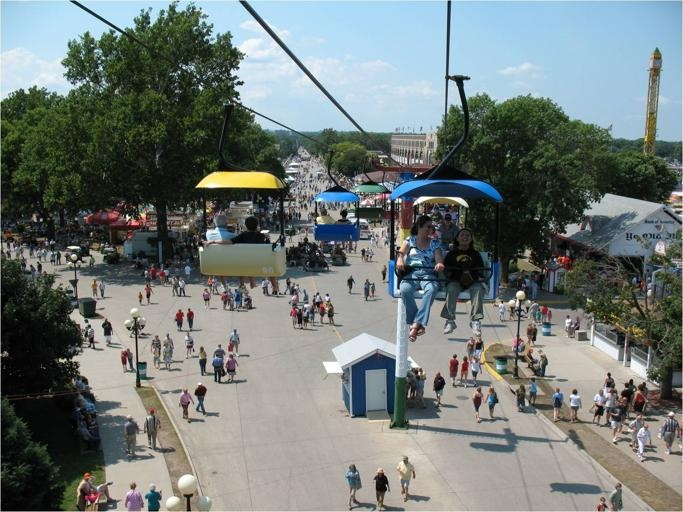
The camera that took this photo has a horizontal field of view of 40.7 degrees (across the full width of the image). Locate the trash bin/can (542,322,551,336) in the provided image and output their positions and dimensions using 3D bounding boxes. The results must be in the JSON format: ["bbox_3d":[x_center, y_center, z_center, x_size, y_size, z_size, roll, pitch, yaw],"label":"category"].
[{"bbox_3d":[13.550,4.868,61.174,0.745,0.817,0.763,-1,3,-7],"label":"trash bin/can"}]

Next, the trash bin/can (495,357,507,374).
[{"bbox_3d":[9.435,6.524,54.808,0.804,0.882,0.829,-1,-1,-1],"label":"trash bin/can"}]
